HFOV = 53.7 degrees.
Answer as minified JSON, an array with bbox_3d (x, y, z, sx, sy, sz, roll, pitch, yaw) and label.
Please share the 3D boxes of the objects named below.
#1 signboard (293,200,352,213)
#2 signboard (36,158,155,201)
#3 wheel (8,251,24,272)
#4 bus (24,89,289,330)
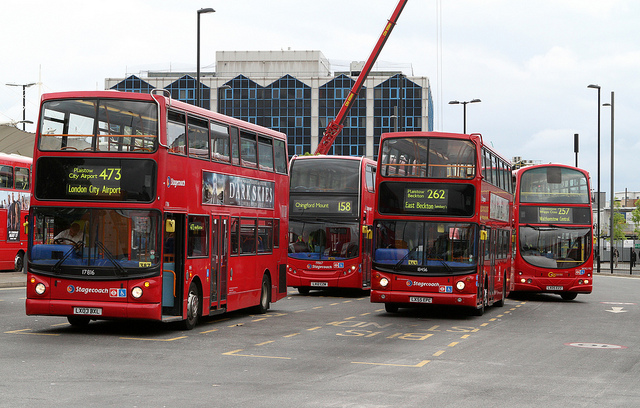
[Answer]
[{"bbox_3d":[0.133,0.090,27.864,2.543,0.582,0.134,-1,-2,5],"label":"signboard"},{"bbox_3d":[-5.425,-0.575,15.258,2.929,1.079,0.117,1,0,2],"label":"signboard"},{"bbox_3d":[-17.363,3.230,36.023,0.426,1.264,1.244,0,-2,17],"label":"wheel"},{"bbox_3d":[-4.287,0.333,20.536,3.448,5.988,11.326,1,-2,13],"label":"bus"}]
